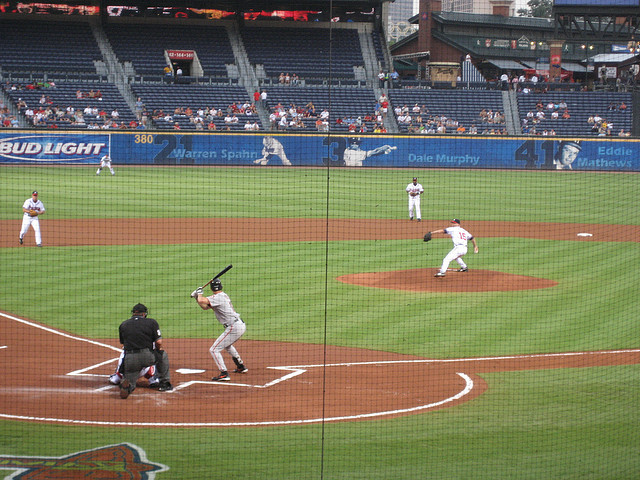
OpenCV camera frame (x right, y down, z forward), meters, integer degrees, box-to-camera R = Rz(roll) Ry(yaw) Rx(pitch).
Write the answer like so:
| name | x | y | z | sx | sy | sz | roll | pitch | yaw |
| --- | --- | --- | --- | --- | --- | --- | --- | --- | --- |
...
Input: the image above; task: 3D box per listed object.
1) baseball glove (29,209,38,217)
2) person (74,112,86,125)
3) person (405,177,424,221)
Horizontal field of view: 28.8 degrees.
| name | x | y | z | sx | sy | sz | roll | pitch | yaw |
| --- | --- | --- | --- | --- | --- | --- | --- | --- | --- |
| baseball glove | -12.012 | -1.104 | 52.185 | 0.366 | 0.107 | 0.250 | 17 | -5 | -23 |
| person | -14.392 | -7.227 | 74.700 | 0.579 | 0.667 | 1.092 | -11 | 17 | -2 |
| person | 4.468 | -1.886 | 58.701 | 0.820 | 2.324 | 1.047 | -10 | 20 | 6 |
